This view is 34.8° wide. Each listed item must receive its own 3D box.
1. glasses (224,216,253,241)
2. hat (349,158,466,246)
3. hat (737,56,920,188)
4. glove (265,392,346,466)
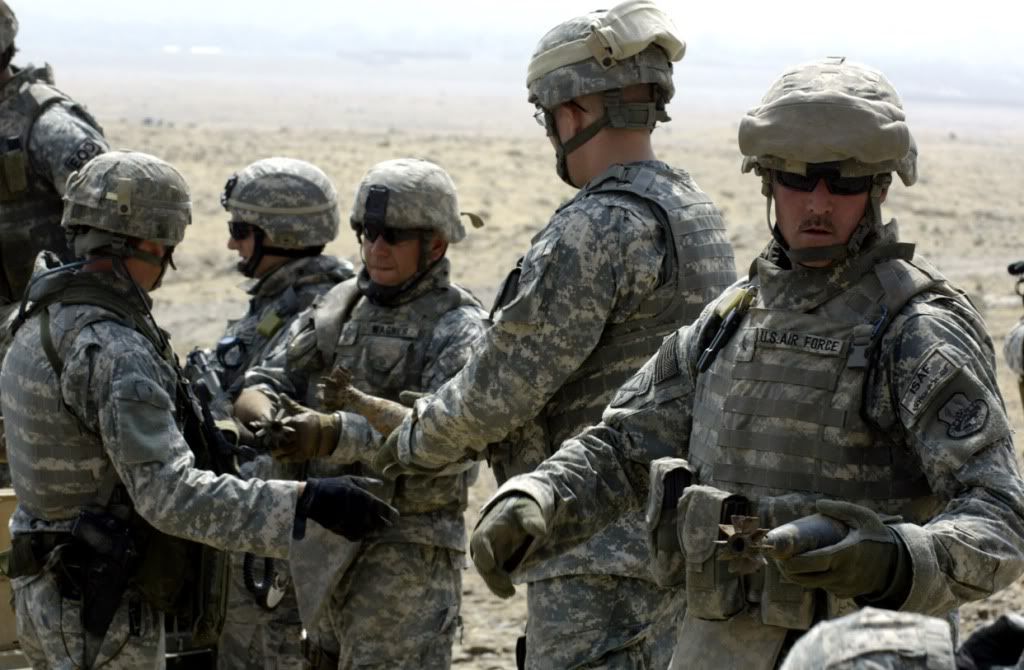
[{"bbox_3d":[-1.765,-0.684,10.530,0.153,0.055,0.139,8,4,-23],"label":"glasses"},{"bbox_3d":[-0.633,-0.791,9.544,0.562,0.333,0.545,2,-1,18],"label":"hat"},{"bbox_3d":[1.435,-0.964,7.422,0.659,0.388,0.635,6,13,14],"label":"hat"},{"bbox_3d":[-1.182,0.473,9.382,0.488,0.386,0.586,-10,1,-1],"label":"glove"}]
